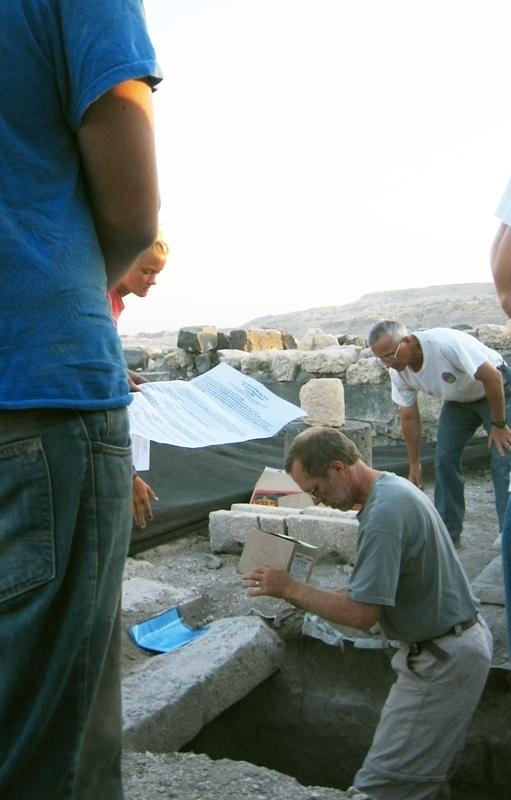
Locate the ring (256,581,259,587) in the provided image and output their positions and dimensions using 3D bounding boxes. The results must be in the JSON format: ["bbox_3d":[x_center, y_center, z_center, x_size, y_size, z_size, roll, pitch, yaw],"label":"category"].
[{"bbox_3d":[0.007,0.648,2.365,0.009,0.013,0.014,-10,-32,16],"label":"ring"}]

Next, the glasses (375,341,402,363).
[{"bbox_3d":[0.823,-0.288,4.057,0.037,0.101,0.104,11,-24,-33],"label":"glasses"}]

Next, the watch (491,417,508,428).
[{"bbox_3d":[1.406,0.129,3.844,0.068,0.041,0.059,-4,0,-5],"label":"watch"}]
